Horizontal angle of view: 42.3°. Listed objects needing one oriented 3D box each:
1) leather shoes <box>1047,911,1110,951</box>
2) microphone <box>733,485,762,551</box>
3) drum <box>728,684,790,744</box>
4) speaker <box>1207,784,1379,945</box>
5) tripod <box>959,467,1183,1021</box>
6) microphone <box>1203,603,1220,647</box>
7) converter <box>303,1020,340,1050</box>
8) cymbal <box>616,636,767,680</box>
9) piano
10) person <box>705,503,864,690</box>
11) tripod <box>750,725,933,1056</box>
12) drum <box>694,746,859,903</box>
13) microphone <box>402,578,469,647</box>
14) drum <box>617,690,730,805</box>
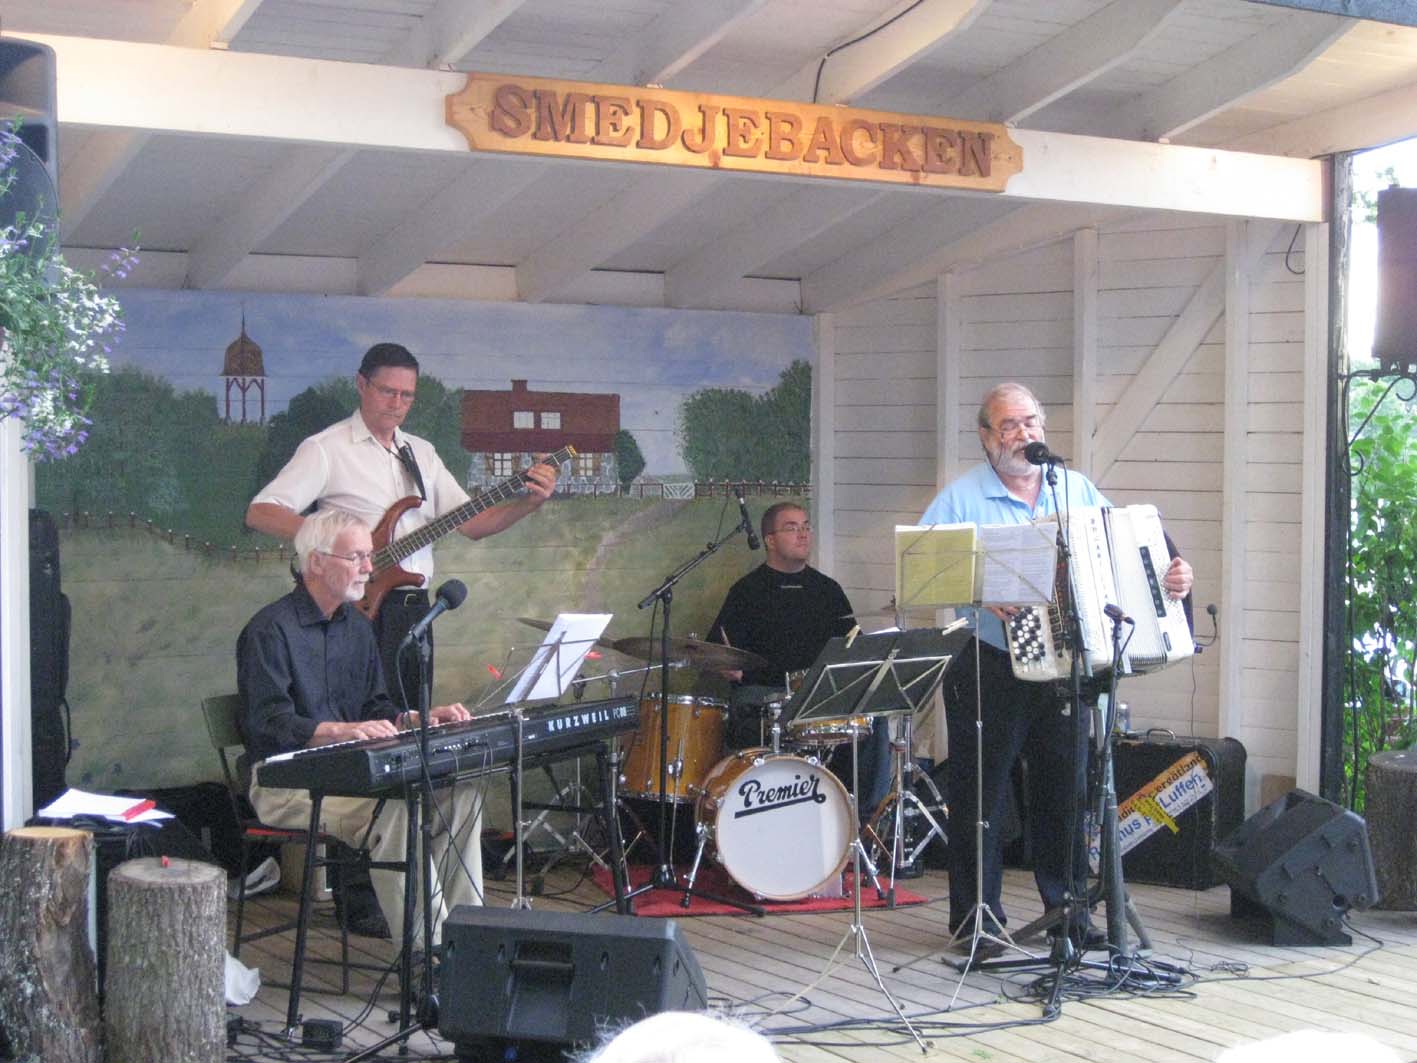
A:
[{"bbox_3d":[1.498,1.620,7.412,0.247,0.180,0.388,-1,-5,7],"label":"leather shoes"},{"bbox_3d":[0.208,-0.082,9.644,0.068,0.344,0.085,-18,1,34],"label":"microphone"},{"bbox_3d":[0.293,0.875,8.697,0.297,0.331,0.198,-1,2,-20],"label":"drum"},{"bbox_3d":[2.536,1.464,7.950,0.514,0.674,0.712,2,-3,1],"label":"speaker"},{"bbox_3d":[1.347,0.708,7.440,0.961,2.175,0.792,-2,-4,22],"label":"tripod"},{"bbox_3d":[2.443,0.435,8.854,0.055,0.194,0.246,-1,-5,15],"label":"microphone"},{"bbox_3d":[-1.401,1.855,6.751,0.097,0.086,0.102,4,4,12],"label":"converter"},{"bbox_3d":[-0.108,0.542,8.412,0.573,0.142,0.559,3,-6,-31],"label":"cymbal"},{"bbox_3d":[-0.912,0.797,6.854,1.418,0.356,0.505,4,-7,-40],"label":"piano"},{"bbox_3d":[0.357,0.332,9.176,0.664,0.946,0.515,5,-20,-15],"label":"person"},{"bbox_3d":[0.651,1.470,7.700,0.859,1.463,0.922,2,-7,-12],"label":"tripod"},{"bbox_3d":[0.274,1.217,8.322,0.778,0.901,0.562,-1,4,-17],"label":"drum"},{"bbox_3d":[-1.205,0.338,8.086,0.378,0.119,0.109,-48,5,-6],"label":"microphone"},{"bbox_3d":[-0.166,0.980,8.559,0.447,0.488,0.461,14,6,-21],"label":"drum"}]
